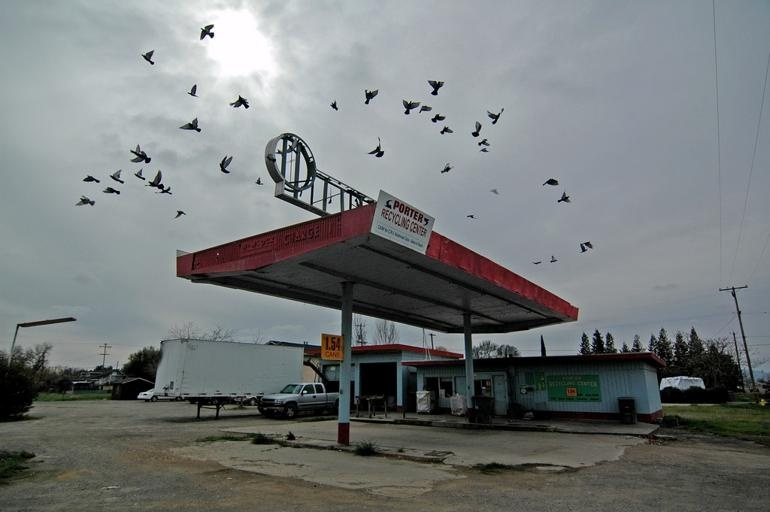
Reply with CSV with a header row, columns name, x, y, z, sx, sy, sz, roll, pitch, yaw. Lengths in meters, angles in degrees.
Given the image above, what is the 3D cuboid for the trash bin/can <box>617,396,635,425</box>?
name,x,y,z,sx,sy,sz,roll,pitch,yaw
trash bin/can,11.888,7.498,24.187,0.986,1.610,1.007,-7,-17,40

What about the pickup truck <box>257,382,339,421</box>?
name,x,y,z,sx,sy,sz,roll,pitch,yaw
pickup truck,-4.717,8.147,28.527,2.153,1.664,4.590,-11,-20,35

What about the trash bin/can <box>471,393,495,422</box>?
name,x,y,z,sx,sy,sz,roll,pitch,yaw
trash bin/can,4.759,7.562,24.635,1.085,1.299,0.698,1,-19,4
